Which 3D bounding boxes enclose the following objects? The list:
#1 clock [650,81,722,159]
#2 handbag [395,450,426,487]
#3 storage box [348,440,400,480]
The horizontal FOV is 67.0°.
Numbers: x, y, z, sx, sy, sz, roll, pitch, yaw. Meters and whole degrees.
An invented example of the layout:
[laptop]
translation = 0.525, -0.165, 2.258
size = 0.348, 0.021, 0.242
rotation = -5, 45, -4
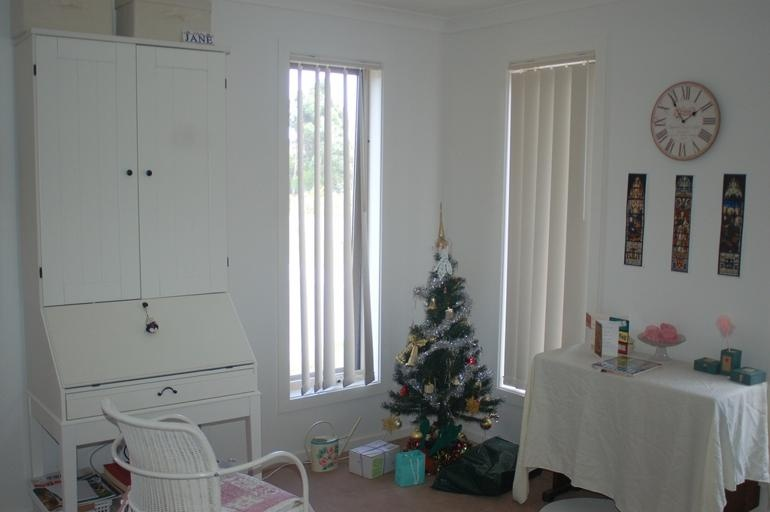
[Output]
[clock]
translation = 2.014, -0.899, 3.843
size = 0.058, 0.594, 0.510
rotation = -2, 5, -42
[handbag]
translation = 0.200, 1.582, 4.374
size = 0.255, 0.224, 0.164
rotation = -2, 7, -9
[storage box]
translation = -0.071, 1.574, 4.502
size = 0.391, 0.185, 0.226
rotation = -5, 8, -30
